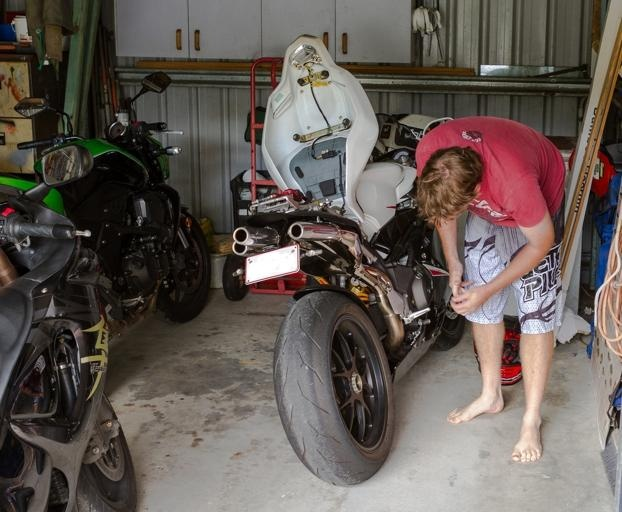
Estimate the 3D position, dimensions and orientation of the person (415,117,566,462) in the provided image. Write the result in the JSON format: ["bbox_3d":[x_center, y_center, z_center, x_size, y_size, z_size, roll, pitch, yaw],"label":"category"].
[{"bbox_3d":[0.695,0.095,2.058,0.558,1.309,0.802,5,12,28],"label":"person"}]

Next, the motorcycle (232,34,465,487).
[{"bbox_3d":[0.287,-0.035,2.497,0.670,1.406,2.042,-13,8,30],"label":"motorcycle"}]
